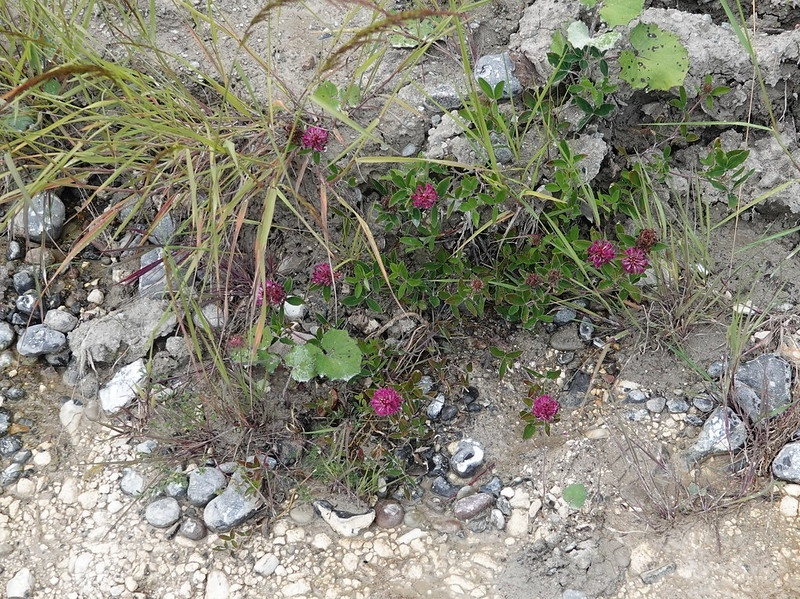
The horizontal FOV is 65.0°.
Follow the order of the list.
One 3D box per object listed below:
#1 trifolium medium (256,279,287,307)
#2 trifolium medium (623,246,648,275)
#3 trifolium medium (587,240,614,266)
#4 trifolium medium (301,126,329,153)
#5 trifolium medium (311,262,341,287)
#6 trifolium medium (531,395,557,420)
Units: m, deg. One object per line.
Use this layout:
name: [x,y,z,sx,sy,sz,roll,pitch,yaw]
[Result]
trifolium medium: [-0.532,-0.035,2.596,0.099,0.103,0.080,2,107,-12]
trifolium medium: [0.951,-0.153,2.552,0.100,0.084,0.100,16,73,26]
trifolium medium: [0.826,-0.189,2.582,0.106,0.096,0.096,-3,65,19]
trifolium medium: [-0.354,-0.662,2.601,0.096,0.093,0.095,2,67,21]
trifolium medium: [-0.309,-0.104,2.634,0.094,0.095,0.099,7,102,39]
trifolium medium: [0.594,0.442,2.609,0.097,0.109,0.102,1,66,20]
